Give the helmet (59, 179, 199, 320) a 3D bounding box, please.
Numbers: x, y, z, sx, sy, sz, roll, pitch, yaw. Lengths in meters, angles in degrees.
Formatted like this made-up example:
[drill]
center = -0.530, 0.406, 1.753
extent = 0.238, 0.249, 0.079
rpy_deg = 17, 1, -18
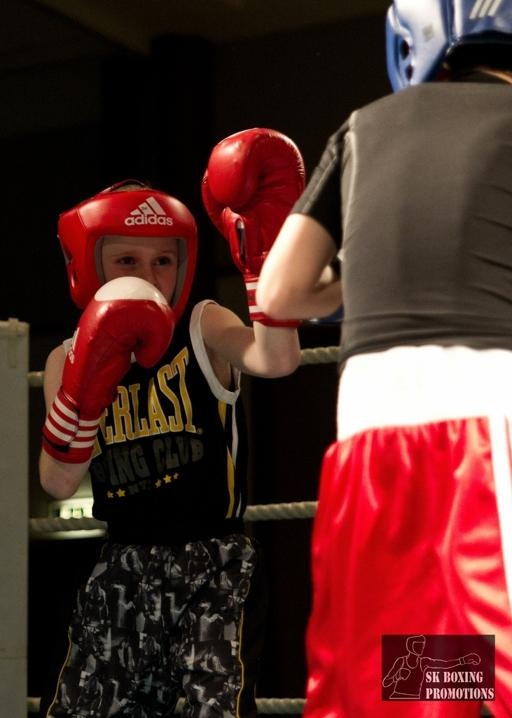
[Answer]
[helmet]
center = -0.306, -0.198, 1.646
extent = 0.265, 0.281, 0.321
rpy_deg = 4, -18, -18
